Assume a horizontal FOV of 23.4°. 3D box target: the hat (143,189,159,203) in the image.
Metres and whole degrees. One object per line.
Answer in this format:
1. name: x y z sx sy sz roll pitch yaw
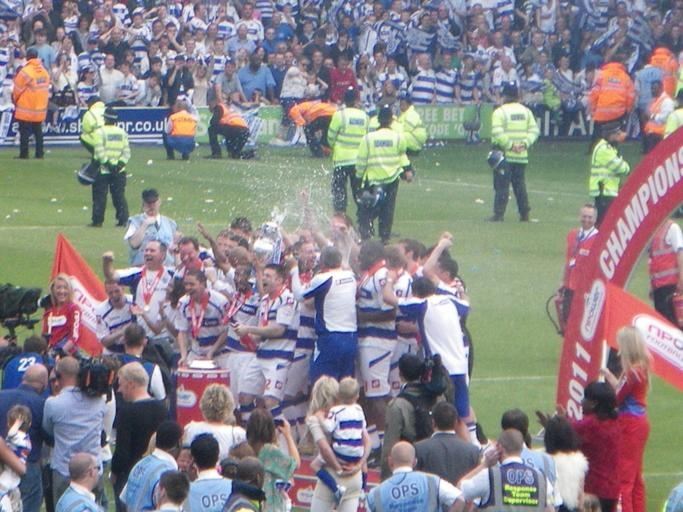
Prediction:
1. hat: -2.969 -0.953 25.523 0.171 0.189 0.236 -6 -10 -10

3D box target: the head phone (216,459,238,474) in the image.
1. head phone: -1.451 2.670 21.023 0.190 0.150 0.169 -6 -6 37

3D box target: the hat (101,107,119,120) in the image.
1. hat: -4.074 -2.500 28.982 0.225 0.258 0.352 -1 5 -14
